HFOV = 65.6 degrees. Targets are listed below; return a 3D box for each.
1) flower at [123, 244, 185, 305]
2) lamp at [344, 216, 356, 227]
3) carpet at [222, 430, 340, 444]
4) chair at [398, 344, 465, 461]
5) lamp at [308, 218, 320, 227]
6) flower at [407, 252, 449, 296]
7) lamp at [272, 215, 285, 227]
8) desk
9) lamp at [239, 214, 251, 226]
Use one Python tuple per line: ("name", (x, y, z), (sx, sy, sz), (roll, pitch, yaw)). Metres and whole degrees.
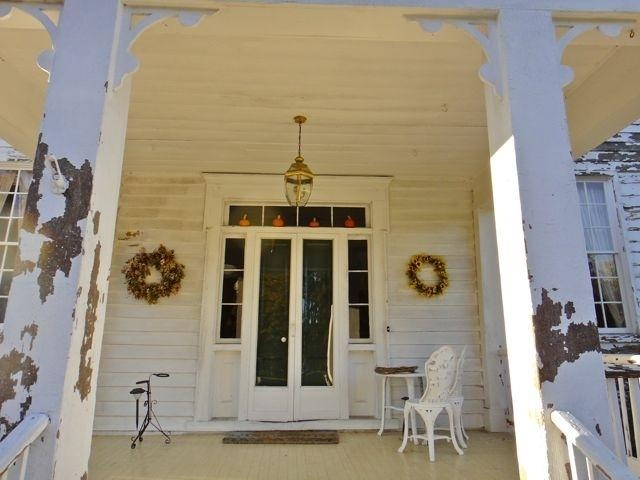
("flower", (-1.938, 0.412, 5.747), (0.637, 0.650, 0.246), (9, -8, -9))
("lamp", (0.367, -0.227, 6.153), (0.117, 0.152, 0.082), (2, -6, -13))
("carpet", (-0.407, 2.110, 5.330), (1.217, 0.024, 0.492), (0, -6, -1))
("chair", (1.128, 1.587, 5.055), (0.629, 1.074, 0.995), (-1, -6, 14))
("lamp", (-0.066, -0.216, 6.067), (0.096, 0.133, 0.099), (-4, 0, -11))
("flower", (1.313, 0.420, 5.968), (0.497, 0.499, 0.162), (3, -7, -8))
("lamp", (-0.511, -0.237, 6.098), (0.127, 0.173, 0.128), (-5, -5, 33))
("desk", (0.860, 1.786, 5.500), (0.526, 0.572, 0.519), (15, -15, -38))
("lamp", (-0.920, -0.245, 6.056), (0.135, 0.180, 0.131), (2, -4, -31))
